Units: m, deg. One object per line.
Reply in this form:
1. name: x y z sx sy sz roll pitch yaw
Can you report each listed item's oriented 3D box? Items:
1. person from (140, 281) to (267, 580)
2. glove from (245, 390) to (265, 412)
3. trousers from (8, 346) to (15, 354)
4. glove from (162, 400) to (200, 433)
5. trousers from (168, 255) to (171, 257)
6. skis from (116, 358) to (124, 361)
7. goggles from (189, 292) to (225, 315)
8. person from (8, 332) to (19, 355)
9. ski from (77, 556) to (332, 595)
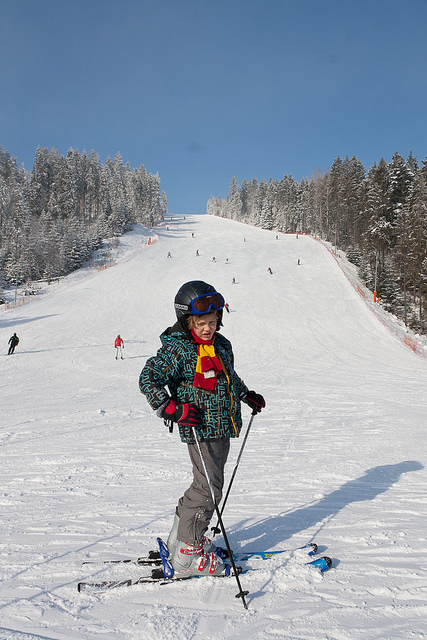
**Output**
1. person: -0.137 0.802 4.631 0.823 2.180 0.560 1 4 -8
2. glove: 0.331 0.621 4.852 0.129 0.174 0.071 -8 -36 -44
3. trousers: -6.759 0.988 20.898 0.185 0.264 0.500 0 4 -20
4. glove: -0.226 0.677 4.416 0.244 0.224 0.121 5 -24 -5
5. trousers: -3.367 -4.979 47.622 0.229 0.057 0.217 1 -4 0
6. skis: -3.022 1.255 20.270 0.243 0.041 0.426 1 3 -4
7. goggles: -0.051 -0.128 4.575 0.178 0.088 0.190 -6 -17 -40
8. person: -6.787 0.782 21.168 0.295 0.666 1.091 0 4 -18
9. ski: -0.039 1.862 4.535 1.843 0.155 0.145 1 4 -8
